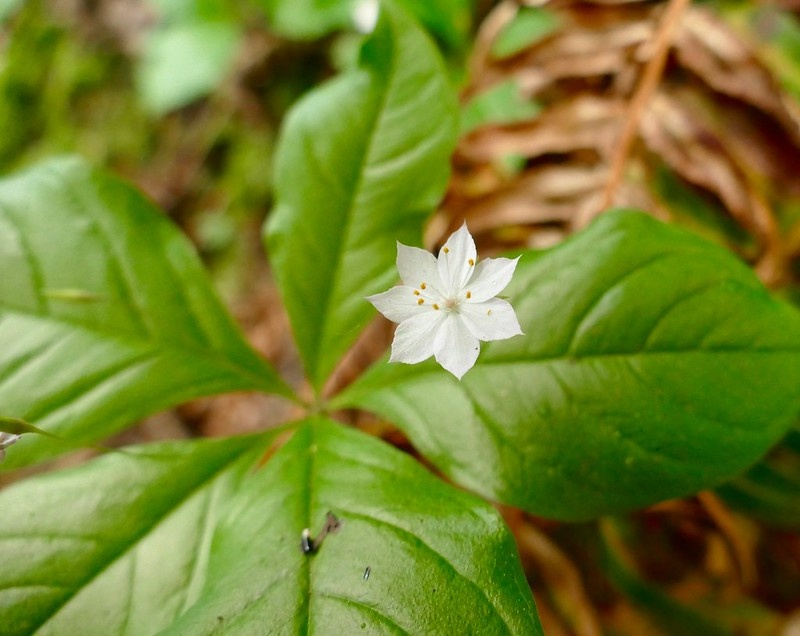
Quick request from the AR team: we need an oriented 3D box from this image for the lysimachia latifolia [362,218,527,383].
[{"bbox_3d":[0.109,-0.024,1.659,0.065,0.247,0.199,-37,36,-26],"label":"lysimachia latifolia"}]
